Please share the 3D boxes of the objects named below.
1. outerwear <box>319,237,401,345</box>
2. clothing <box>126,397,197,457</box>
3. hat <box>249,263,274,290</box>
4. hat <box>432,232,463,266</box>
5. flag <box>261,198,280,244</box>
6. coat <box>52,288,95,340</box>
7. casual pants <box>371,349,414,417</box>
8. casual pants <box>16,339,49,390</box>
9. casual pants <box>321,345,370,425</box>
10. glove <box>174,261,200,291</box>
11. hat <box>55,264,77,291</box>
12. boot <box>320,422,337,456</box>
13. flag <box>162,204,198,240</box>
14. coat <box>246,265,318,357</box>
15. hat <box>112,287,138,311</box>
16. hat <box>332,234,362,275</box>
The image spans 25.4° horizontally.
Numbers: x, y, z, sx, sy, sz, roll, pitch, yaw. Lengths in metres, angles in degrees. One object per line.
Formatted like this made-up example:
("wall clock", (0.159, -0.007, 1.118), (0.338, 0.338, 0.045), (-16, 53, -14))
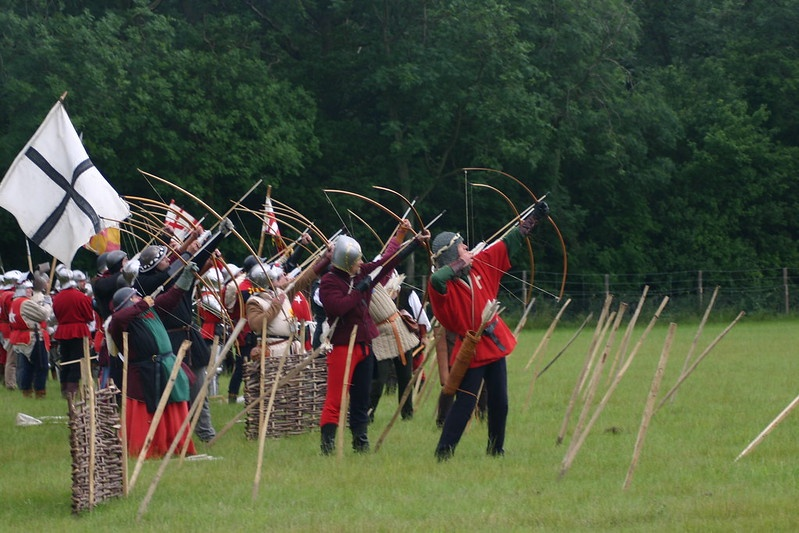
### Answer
("outerwear", (-1.061, 1.483, 49.187), (2.033, 5.087, 1.383), (-4, 27, -13))
("clothing", (-6.525, 4.312, 48.116), (1.501, 1.519, 0.407), (6, -14, -15))
("hat", (-3.857, 0.272, 50.055), (0.727, 0.768, 0.542), (0, 4, -14))
("hat", (1.297, -0.436, 48.784), (0.839, 1.064, 0.961), (-9, -4, 38))
("flag", (-3.819, -1.445, 52.166), (0.629, 1.500, 0.109), (20, -48, -29))
("coat", (-9.670, 1.415, 52.480), (1.133, 1.428, 0.813), (-6, -3, 9))
("casual pants", (-0.320, 3.330, 51.105), (0.339, 1.353, 1.775), (13, -47, -38))
("casual pants", (-11.052, 2.986, 53.621), (0.910, 1.961, 0.563), (2, 19, 29))
("casual pants", (-1.427, 3.227, 48.583), (1.260, 2.291, 0.575), (5, -6, -2))
("glove", (-5.755, 0.265, 48.111), (0.459, 0.817, 0.292), (28, 12, 7))
("hat", (-9.824, 0.322, 52.382), (0.673, 0.727, 0.599), (-5, 15, 27))
("boot", (-1.926, 4.712, 48.590), (0.480, 0.862, 0.335), (6, -6, -15))
("flag", (-6.559, -1.307, 52.742), (0.120, 1.090, 1.191), (-43, -9, -36))
("coat", (-3.439, 1.204, 49.800), (1.697, 2.731, 3.161), (5, -6, -4))
("hat", (-7.456, 0.835, 48.426), (0.644, 0.539, 0.546), (-36, 12, 1))
("hat", (-1.502, -0.291, 48.600), (0.737, 0.885, 0.970), (-7, -28, 38))
